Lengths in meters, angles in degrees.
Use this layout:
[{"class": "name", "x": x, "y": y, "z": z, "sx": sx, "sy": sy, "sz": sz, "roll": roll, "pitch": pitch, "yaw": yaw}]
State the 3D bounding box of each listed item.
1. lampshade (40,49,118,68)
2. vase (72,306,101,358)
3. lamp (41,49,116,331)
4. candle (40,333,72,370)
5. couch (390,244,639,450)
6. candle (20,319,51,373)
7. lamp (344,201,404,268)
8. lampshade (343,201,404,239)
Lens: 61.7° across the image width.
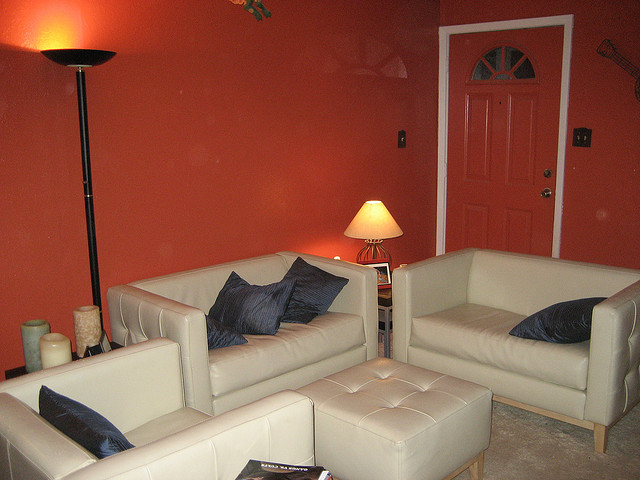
[{"class": "lampshade", "x": -1.403, "y": -1.063, "z": 3.114, "sx": 0.208, "sy": 0.092, "sz": 0.343, "roll": 6, "pitch": 11, "yaw": 33}, {"class": "vase", "x": -1.335, "y": 0.523, "z": 3.052, "sx": 0.129, "sy": 0.247, "sz": 0.138, "roll": 0, "pitch": 8, "yaw": 16}, {"class": "lamp", "x": -1.464, "y": -0.277, "z": 3.335, "sx": 0.364, "sy": 1.716, "sz": 0.375, "roll": 10, "pitch": 15, "yaw": 42}, {"class": "candle", "x": -1.423, "y": 0.567, "z": 2.899, "sx": 0.177, "sy": 0.211, "sz": 0.178, "roll": -1, "pitch": 10, "yaw": -35}, {"class": "couch", "x": 1.255, "y": 0.581, "z": 3.333, "sx": 1.484, "sy": 0.940, "sz": 1.055, "roll": 10, "pitch": 16, "yaw": 44}, {"class": "candle", "x": -1.597, "y": 0.603, "z": 3.013, "sx": 0.150, "sy": 0.276, "sz": 0.149, "roll": -6, "pitch": 10, "yaw": -36}, {"class": "lamp", "x": 0.387, "y": -0.054, "z": 4.598, "sx": 0.518, "sy": 0.794, "sz": 0.543, "roll": -2, "pitch": 13, "yaw": -2}, {"class": "lampshade", "x": 0.427, "y": -0.144, "z": 4.307, "sx": 0.328, "sy": 0.192, "sz": 0.333, "roll": -7, "pitch": 13, "yaw": -19}]
